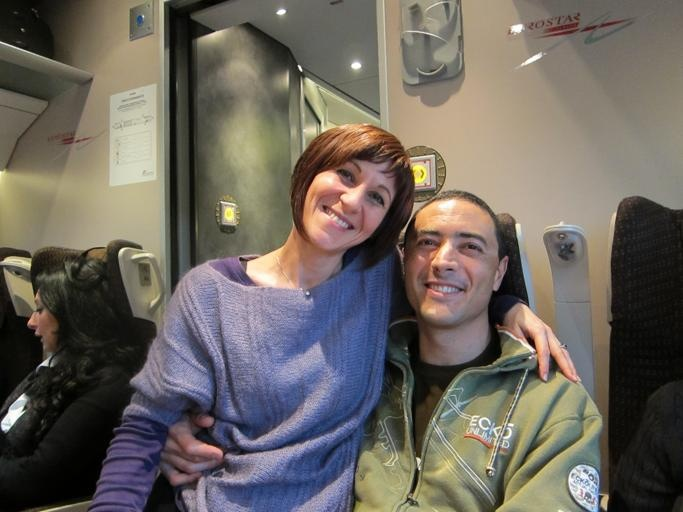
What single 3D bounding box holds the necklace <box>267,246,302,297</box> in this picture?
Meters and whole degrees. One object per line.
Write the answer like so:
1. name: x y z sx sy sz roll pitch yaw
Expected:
1. necklace: -0.207 0.053 1.793 0.104 0.166 0.053 0 -4 34
